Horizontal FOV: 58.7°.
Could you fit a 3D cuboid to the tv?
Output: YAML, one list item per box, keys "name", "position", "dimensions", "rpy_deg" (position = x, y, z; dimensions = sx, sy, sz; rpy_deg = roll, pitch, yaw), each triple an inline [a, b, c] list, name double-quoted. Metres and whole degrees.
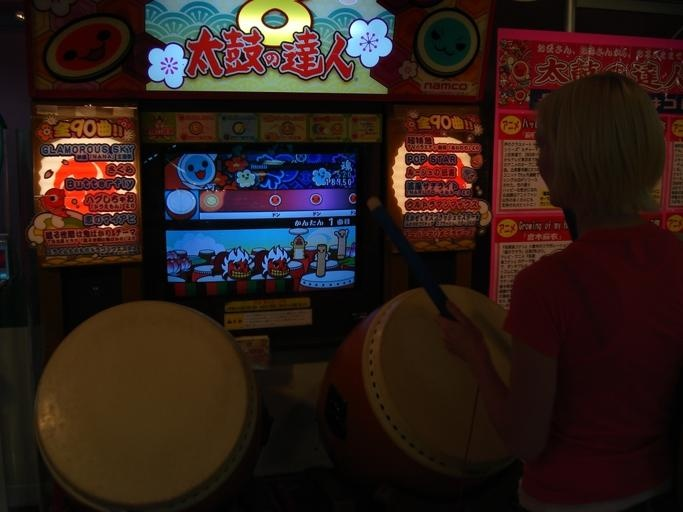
- name: "tv"
  position: [-0.382, -0.102, 2.769]
  dimensions: [1.092, 0.811, 0.558]
  rpy_deg: [1, 3, -8]
